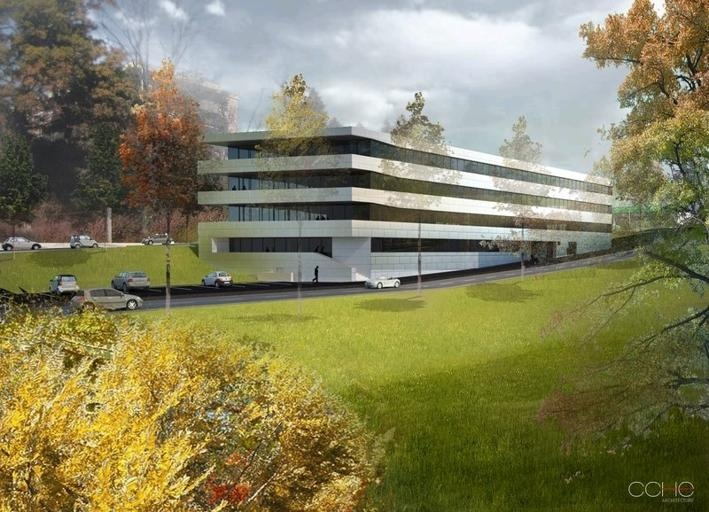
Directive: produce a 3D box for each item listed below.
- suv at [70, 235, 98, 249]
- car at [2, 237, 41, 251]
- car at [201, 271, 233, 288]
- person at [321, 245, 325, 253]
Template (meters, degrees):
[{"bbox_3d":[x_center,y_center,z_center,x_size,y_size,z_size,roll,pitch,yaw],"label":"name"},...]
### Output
[{"bbox_3d":[-26.364,-1.391,67.577,2.331,1.343,1.550,-2,3,-33],"label":"suv"},{"bbox_3d":[-31.225,-1.200,64.636,2.528,1.011,3.403,5,7,32],"label":"car"},{"bbox_3d":[-12.320,2.085,62.296,2.233,1.119,1.383,3,0,40],"label":"car"},{"bbox_3d":[-3.030,-0.631,67.701,0.429,0.897,0.858,-2,-5,11],"label":"person"}]
